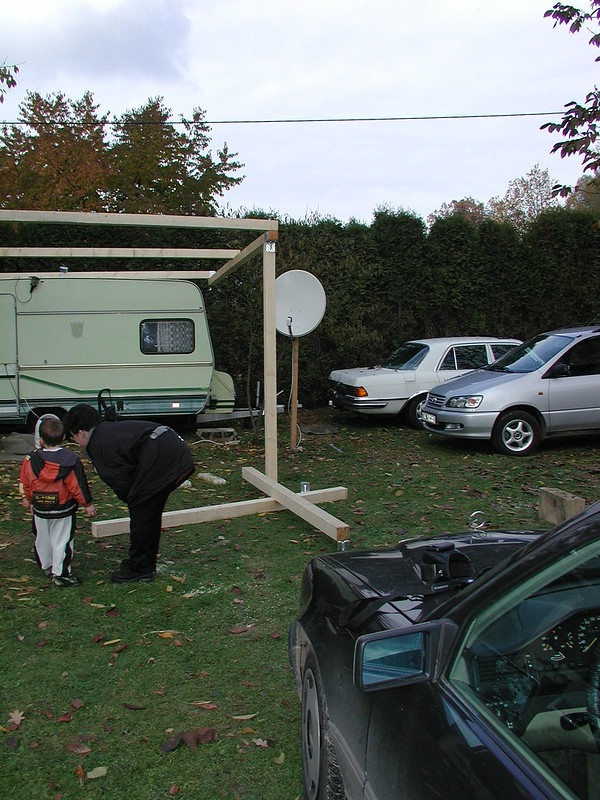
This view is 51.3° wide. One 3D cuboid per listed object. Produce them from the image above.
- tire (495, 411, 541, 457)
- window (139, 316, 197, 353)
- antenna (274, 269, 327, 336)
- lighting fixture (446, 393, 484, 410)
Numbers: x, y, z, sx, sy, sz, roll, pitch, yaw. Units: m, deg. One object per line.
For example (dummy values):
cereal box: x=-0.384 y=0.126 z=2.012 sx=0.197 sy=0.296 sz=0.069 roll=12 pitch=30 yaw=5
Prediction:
tire: x=2.931 y=0.438 z=8.499 sx=0.610 sy=0.550 sz=0.189 roll=6 pitch=10 yaw=-3
window: x=-2.110 y=-1.038 z=9.803 sx=0.659 sy=0.408 sz=0.061 roll=0 pitch=4 yaw=-6
antenna: x=-0.011 y=-1.322 z=8.643 sx=0.649 sy=0.886 sz=0.291 roll=-1 pitch=7 yaw=-2
lighting fixture: x=2.225 y=0.028 z=8.551 sx=0.129 sy=0.209 sz=0.535 roll=-5 pitch=9 yaw=-33
